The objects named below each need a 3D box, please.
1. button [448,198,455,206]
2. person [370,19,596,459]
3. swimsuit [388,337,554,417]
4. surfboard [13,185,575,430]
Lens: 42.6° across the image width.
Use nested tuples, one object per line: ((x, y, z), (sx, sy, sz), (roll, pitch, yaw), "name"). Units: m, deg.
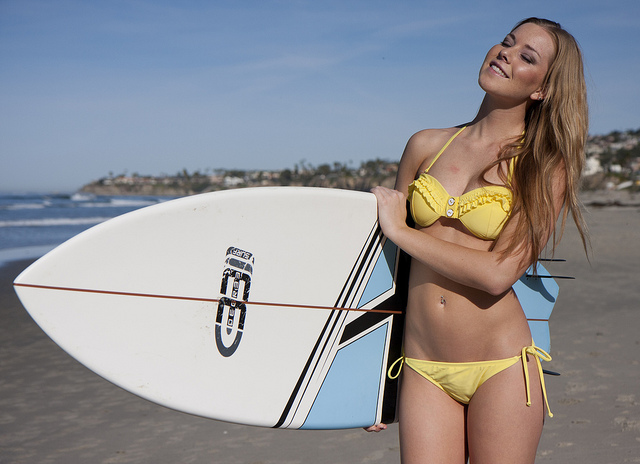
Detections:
((0.774, -0.179, 4.818), (0.038, 0.036, 0.009), (0, -5, 32), "button")
((0.967, 0.053, 4.875), (1.208, 2.082, 0.537), (13, 6, 13), "person")
((0.887, 0.833, 4.918), (0.977, 0.382, 0.371), (-5, -9, 26), "swimsuit")
((-0.058, 0.510, 5.474), (3.866, 1.294, 0.160), (5, -2, -23), "surfboard")
